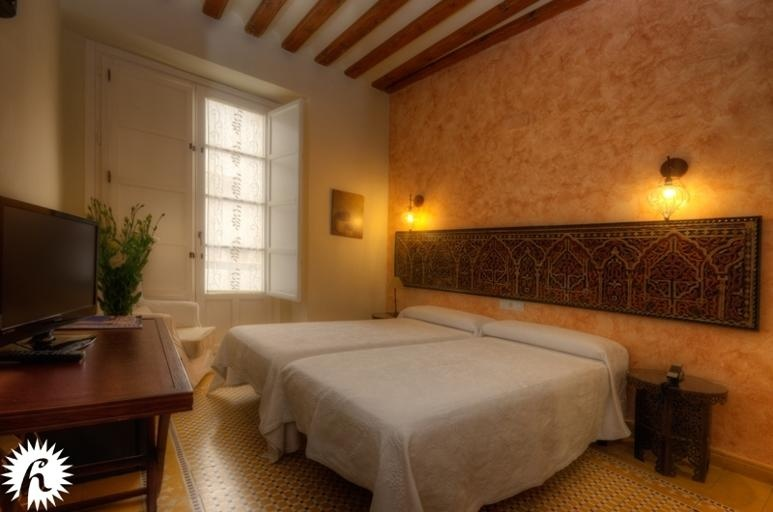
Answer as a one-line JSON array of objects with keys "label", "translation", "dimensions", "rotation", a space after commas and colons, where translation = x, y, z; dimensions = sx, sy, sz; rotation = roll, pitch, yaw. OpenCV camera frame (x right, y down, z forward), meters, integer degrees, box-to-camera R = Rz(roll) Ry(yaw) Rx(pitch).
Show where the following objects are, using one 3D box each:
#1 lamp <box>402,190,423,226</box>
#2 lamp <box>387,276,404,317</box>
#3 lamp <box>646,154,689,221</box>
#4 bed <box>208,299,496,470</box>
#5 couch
[{"label": "lamp", "translation": [0.346, -0.601, 6.206], "dimensions": [0.135, 0.450, 0.355], "rotation": [0, 0, -35]}, {"label": "lamp", "translation": [0.128, 0.546, 6.316], "dimensions": [0.270, 0.535, 0.269], "rotation": [2, -6, -13]}, {"label": "lamp", "translation": [2.519, -0.603, 4.243], "dimensions": [0.266, 0.546, 0.264], "rotation": [1, 2, -35]}, {"label": "bed", "translation": [-0.242, 1.072, 5.038], "dimensions": [2.842, 0.853, 1.752], "rotation": [1, 2, -35]}, {"label": "couch", "translation": [-2.279, 0.803, 4.868], "dimensions": [1.059, 1.097, 1.014], "rotation": [-2, 5, -42]}]
